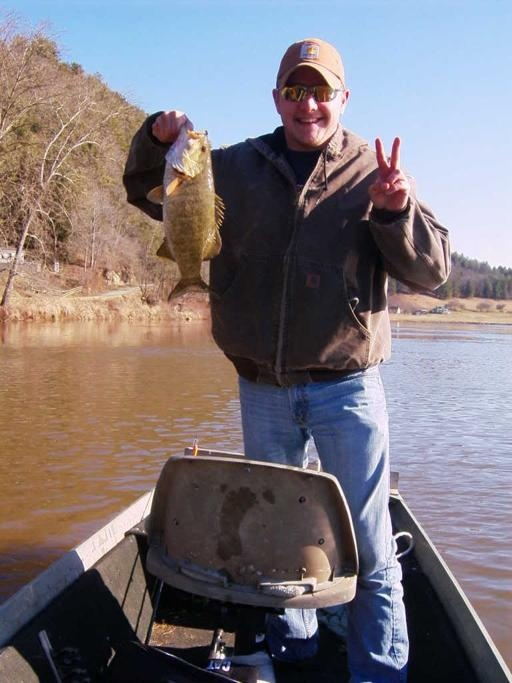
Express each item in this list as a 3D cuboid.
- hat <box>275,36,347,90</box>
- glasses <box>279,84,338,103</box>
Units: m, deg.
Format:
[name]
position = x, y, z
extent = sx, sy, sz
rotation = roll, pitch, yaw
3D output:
[hat]
position = 0.223, -1.114, 2.510
extent = 0.281, 0.196, 0.403
rotation = 6, 8, 7
[glasses]
position = 0.207, -0.959, 2.391
extent = 0.119, 0.035, 0.119
rotation = 1, 0, 9
